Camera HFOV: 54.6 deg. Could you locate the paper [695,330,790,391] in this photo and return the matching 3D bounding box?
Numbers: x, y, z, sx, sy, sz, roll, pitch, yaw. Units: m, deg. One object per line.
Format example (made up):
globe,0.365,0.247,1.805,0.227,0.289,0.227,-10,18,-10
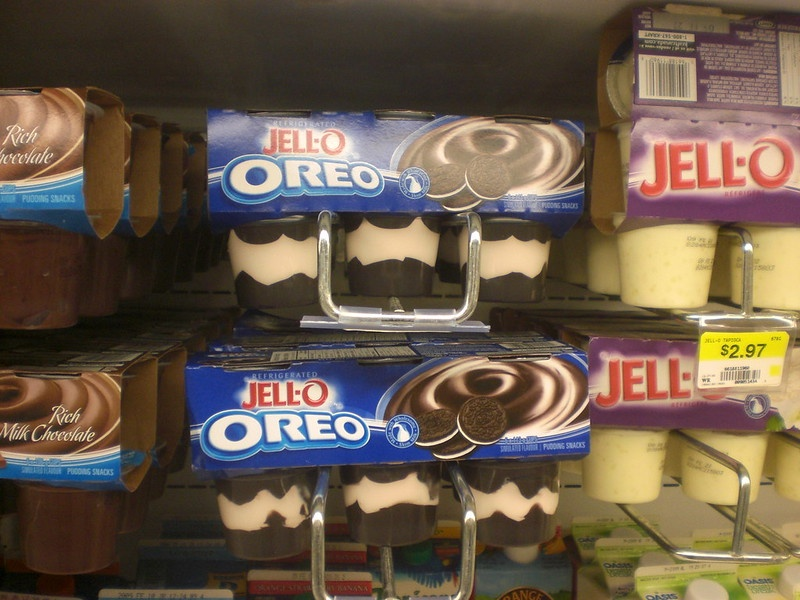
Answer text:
paper,0.556,0.092,1.240,0.019,0.119,0.175,15,-12,-27
